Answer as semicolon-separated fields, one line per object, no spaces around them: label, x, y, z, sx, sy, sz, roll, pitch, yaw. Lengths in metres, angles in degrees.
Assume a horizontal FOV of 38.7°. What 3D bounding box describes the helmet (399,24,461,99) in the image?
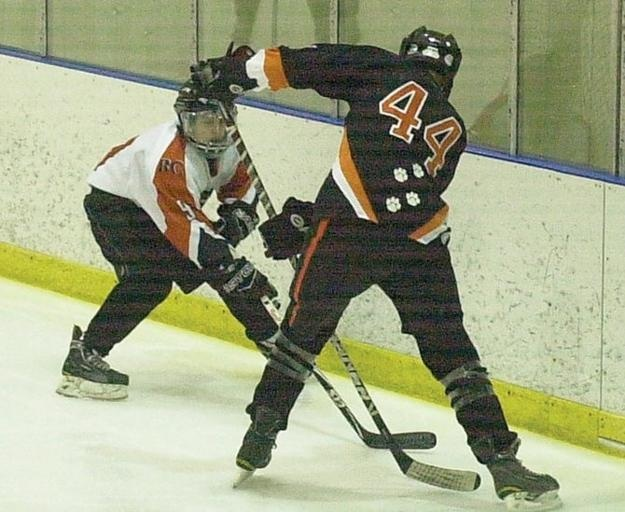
helmet;0.365;-0.595;2.716;0.215;0.195;0.232;20;15;-7

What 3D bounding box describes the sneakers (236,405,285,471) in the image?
sneakers;-0.145;0.549;2.724;0.107;0.229;0.115;25;11;3

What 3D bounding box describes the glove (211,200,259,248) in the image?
glove;-0.272;-0.121;3.265;0.179;0.155;0.069;2;14;-8

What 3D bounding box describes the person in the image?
person;0.058;0.052;3.043;1.886;1.267;0.679;17;27;14
